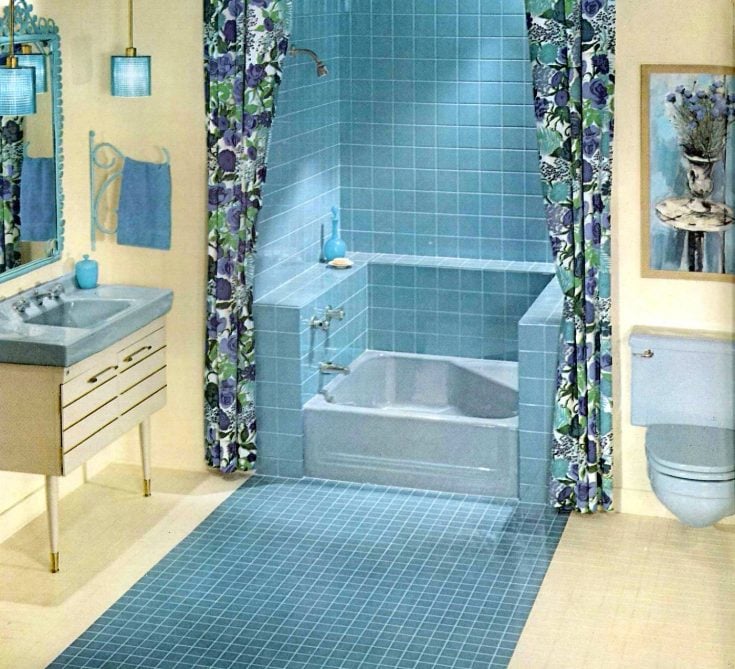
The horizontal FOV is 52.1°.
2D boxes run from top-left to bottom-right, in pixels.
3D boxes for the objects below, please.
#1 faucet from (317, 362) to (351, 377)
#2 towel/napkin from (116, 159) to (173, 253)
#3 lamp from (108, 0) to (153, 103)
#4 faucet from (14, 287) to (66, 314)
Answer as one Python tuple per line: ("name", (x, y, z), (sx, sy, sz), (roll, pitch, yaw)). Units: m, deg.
("faucet", (-0.180, 0.174, 3.914), (0.123, 0.034, 0.077), (2, 9, 7))
("towel/napkin", (-1.078, -0.624, 3.633), (0.273, 0.426, 0.061), (2, 15, 11))
("lamp", (-1.077, -1.297, 3.395), (0.200, 0.463, 0.287), (-5, 14, -15))
("faucet", (-1.385, -0.147, 3.182), (0.062, 0.063, 0.193), (15, 17, 12))
